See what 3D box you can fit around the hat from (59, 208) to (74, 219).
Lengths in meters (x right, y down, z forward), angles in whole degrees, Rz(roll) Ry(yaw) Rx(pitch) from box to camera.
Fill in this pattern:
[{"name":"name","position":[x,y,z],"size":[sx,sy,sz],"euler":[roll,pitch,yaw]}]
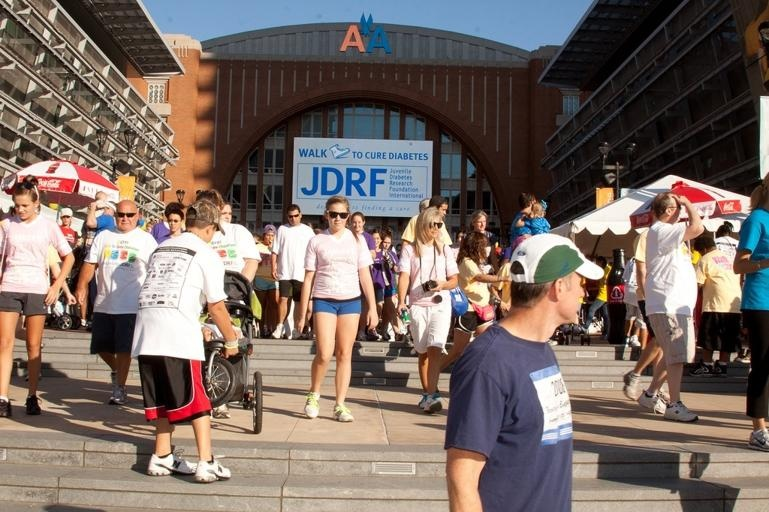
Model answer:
[{"name":"hat","position":[-7.743,-1.056,18.589],"size":[0.456,0.233,0.663],"euler":[0,0,-17]}]

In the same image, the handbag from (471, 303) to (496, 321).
[{"name":"handbag","position":[1.596,0.882,12.203],"size":[0.313,0.260,0.134],"euler":[40,-38,-12]}]

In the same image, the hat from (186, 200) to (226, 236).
[{"name":"hat","position":[-2.148,-0.481,9.276],"size":[0.288,0.249,0.412],"euler":[5,5,12]}]

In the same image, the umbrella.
[{"name":"umbrella","position":[-7.143,-1.654,17.301],"size":[2.234,0.837,2.272],"euler":[2,-6,-3]}]

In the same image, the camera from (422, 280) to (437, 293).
[{"name":"camera","position":[0.663,0.418,11.205],"size":[0.190,0.124,0.202],"euler":[0,8,30]}]

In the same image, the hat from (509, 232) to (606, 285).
[{"name":"hat","position":[1.407,0.002,6.252],"size":[0.585,0.326,0.429],"euler":[-7,6,-6]}]

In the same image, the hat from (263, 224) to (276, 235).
[{"name":"hat","position":[-2.570,-0.667,17.187],"size":[0.318,0.309,0.476],"euler":[0,-7,-10]}]
